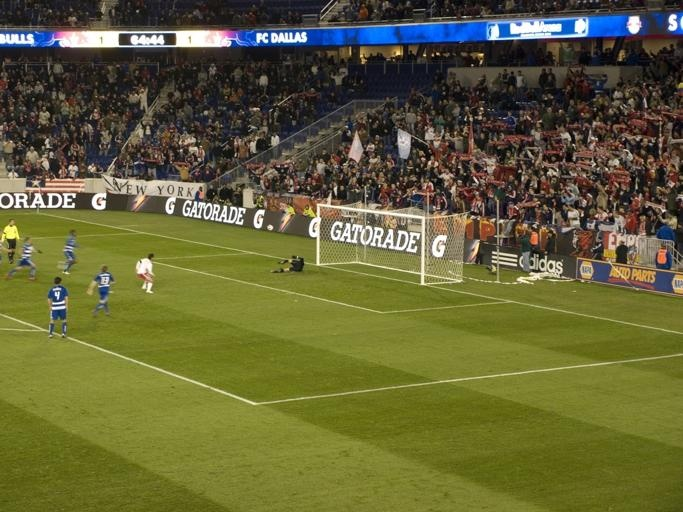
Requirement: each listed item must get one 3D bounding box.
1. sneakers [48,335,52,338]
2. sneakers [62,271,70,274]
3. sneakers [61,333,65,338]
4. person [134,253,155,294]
[{"bbox_3d":[-8.754,2.353,35.665,0.092,0.096,0.227,0,-3,-40],"label":"sneakers"},{"bbox_3d":[-10.241,0.588,44.200,0.096,0.104,0.266,-4,1,-44],"label":"sneakers"},{"bbox_3d":[-8.378,2.333,35.715,0.076,0.156,0.165,5,7,20],"label":"sneakers"},{"bbox_3d":[-7.038,0.644,42.372,0.903,1.417,0.742,17,24,37],"label":"person"}]
